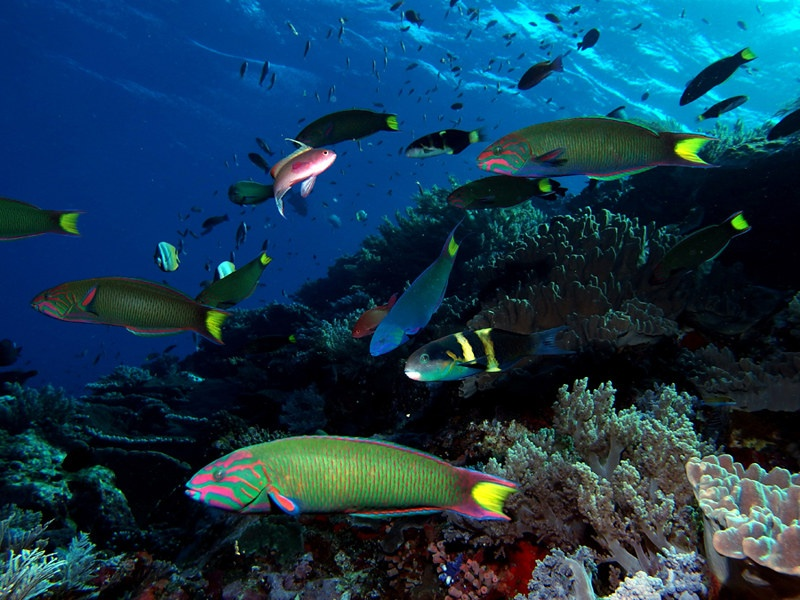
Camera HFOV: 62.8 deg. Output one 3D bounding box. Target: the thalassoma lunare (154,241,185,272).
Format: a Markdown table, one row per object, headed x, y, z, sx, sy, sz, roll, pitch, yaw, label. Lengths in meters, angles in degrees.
| x | y | z | sx | sy | sz | roll | pitch | yaw | label |
| --- | --- | --- | --- | --- | --- | --- | --- | --- | --- |
| -9.478 | -1.696 | 26.565 | 0.935 | 1.389 | 0.804 | -5 | 35 | -19 | thalassoma lunare |
